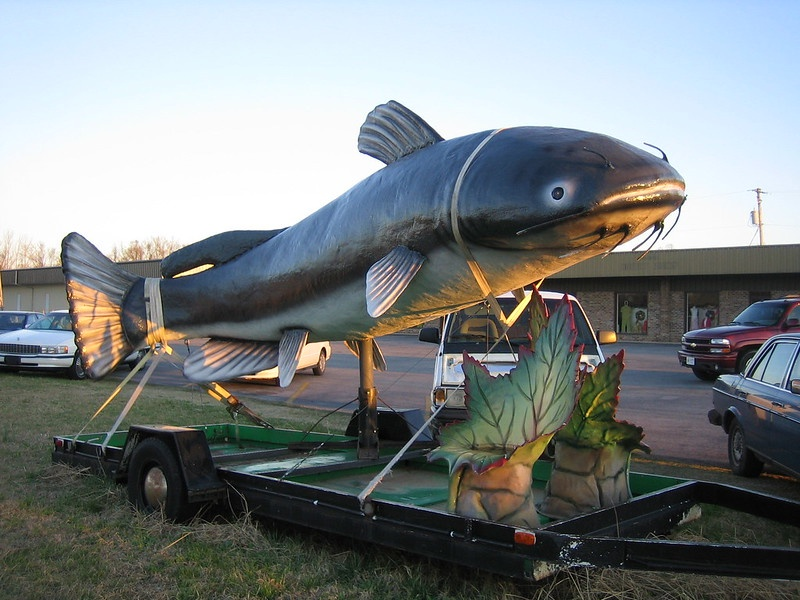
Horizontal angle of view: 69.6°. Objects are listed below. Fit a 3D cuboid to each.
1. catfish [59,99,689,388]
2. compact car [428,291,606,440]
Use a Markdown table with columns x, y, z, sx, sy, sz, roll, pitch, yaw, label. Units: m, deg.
| x | y | z | sx | sy | sz | roll | pitch | yaw | label |
| --- | --- | --- | --- | --- | --- | --- | --- | --- | --- |
| -0.613 | -0.211 | 4.164 | 4.722 | 1.417 | 1.207 | -12 | -7 | 23 | catfish |
| 1.108 | 0.570 | 6.723 | 1.733 | 1.034 | 2.141 | 0 | -11 | 1 | compact car |
